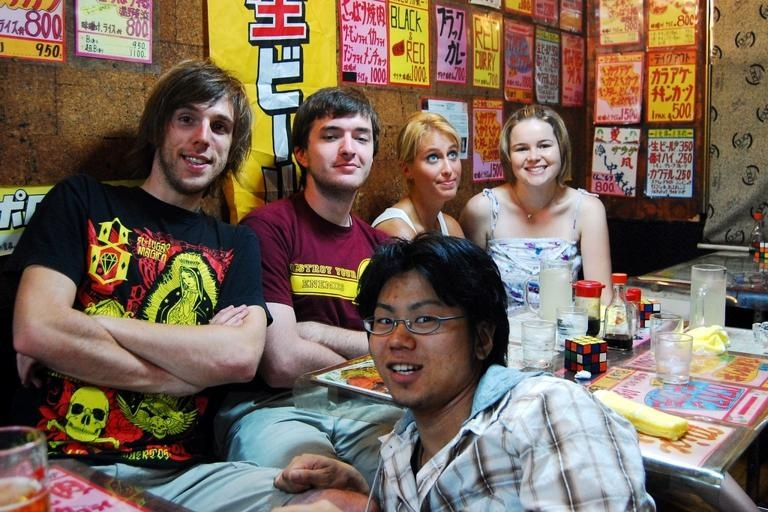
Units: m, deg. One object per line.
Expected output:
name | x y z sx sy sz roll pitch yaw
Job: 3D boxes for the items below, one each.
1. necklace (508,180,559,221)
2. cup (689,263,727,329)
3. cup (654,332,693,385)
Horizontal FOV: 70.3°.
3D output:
necklace | 1.074 -0.406 4.003 0.306 0.387 0.220 -6 12 20
cup | 1.514 0.220 2.591 0.156 0.303 0.315 5 20 43
cup | 1.100 0.401 2.085 0.140 0.162 0.139 2 1 0
